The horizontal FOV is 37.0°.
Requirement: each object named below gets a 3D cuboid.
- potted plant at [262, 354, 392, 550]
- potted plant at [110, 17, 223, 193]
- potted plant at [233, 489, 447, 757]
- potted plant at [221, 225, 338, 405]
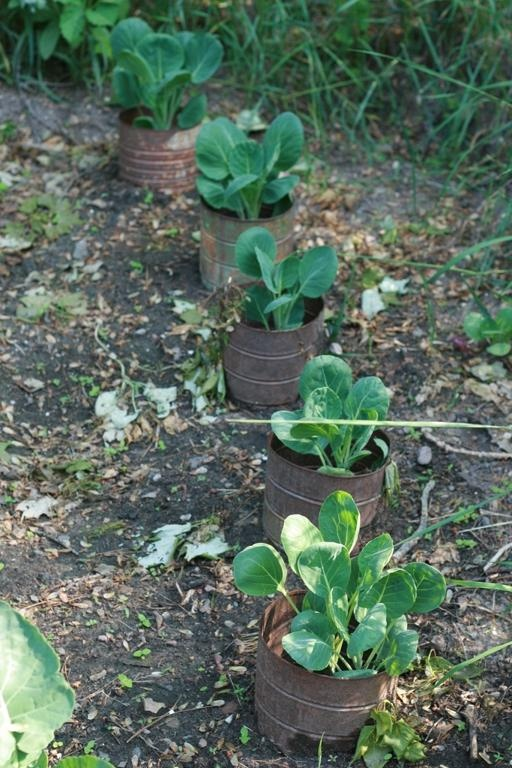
[{"bbox_3d":[0.211,0.228,2.132,0.363,0.501,0.321,1,27,-10],"label":"potted plant"},{"bbox_3d":[-0.411,-1.169,3.290,0.432,0.599,0.391,-3,41,-14],"label":"potted plant"},{"bbox_3d":[0.177,0.537,1.687,0.340,0.568,0.330,-16,34,-28],"label":"potted plant"},{"bbox_3d":[0.067,-0.222,2.746,0.363,0.549,0.330,5,29,-4],"label":"potted plant"}]
